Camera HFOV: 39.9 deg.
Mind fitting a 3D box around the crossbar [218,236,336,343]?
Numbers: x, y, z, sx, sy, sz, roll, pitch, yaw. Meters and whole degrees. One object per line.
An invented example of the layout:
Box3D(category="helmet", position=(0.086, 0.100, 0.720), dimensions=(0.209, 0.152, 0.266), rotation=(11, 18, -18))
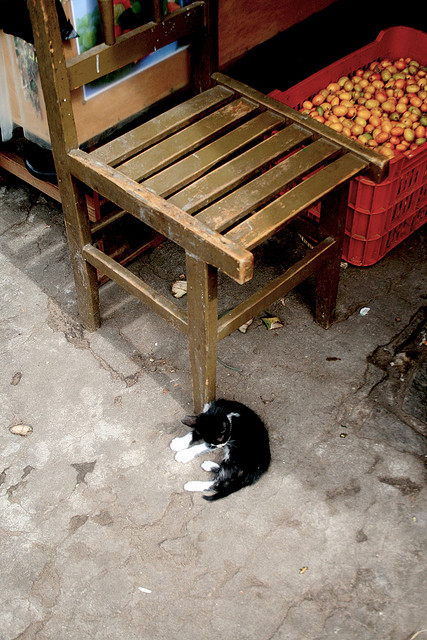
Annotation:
Box3D(category="crossbar", position=(0.269, -0.102, 2.459), dimensions=(0.864, 0.069, 0.122), rotation=(-33, 74, -22))

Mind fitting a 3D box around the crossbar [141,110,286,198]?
Box3D(category="crossbar", position=(-0.010, -0.591, 2.108), dimensions=(0.677, 0.050, 0.139), rotation=(-35, 69, -21))

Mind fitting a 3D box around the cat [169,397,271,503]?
Box3D(category="cat", position=(0.042, 0.440, 2.189), dimensions=(0.393, 0.235, 0.345), rotation=(-12, 38, -11))

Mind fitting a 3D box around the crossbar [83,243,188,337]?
Box3D(category="crossbar", position=(-0.367, -0.122, 2.659), dimensions=(0.058, 0.103, 0.695), rotation=(-8, 44, -49))

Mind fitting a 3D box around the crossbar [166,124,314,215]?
Box3D(category="crossbar", position=(0.079, -0.524, 2.054), dimensions=(0.692, 0.045, 0.120), rotation=(-37, 69, -22))
